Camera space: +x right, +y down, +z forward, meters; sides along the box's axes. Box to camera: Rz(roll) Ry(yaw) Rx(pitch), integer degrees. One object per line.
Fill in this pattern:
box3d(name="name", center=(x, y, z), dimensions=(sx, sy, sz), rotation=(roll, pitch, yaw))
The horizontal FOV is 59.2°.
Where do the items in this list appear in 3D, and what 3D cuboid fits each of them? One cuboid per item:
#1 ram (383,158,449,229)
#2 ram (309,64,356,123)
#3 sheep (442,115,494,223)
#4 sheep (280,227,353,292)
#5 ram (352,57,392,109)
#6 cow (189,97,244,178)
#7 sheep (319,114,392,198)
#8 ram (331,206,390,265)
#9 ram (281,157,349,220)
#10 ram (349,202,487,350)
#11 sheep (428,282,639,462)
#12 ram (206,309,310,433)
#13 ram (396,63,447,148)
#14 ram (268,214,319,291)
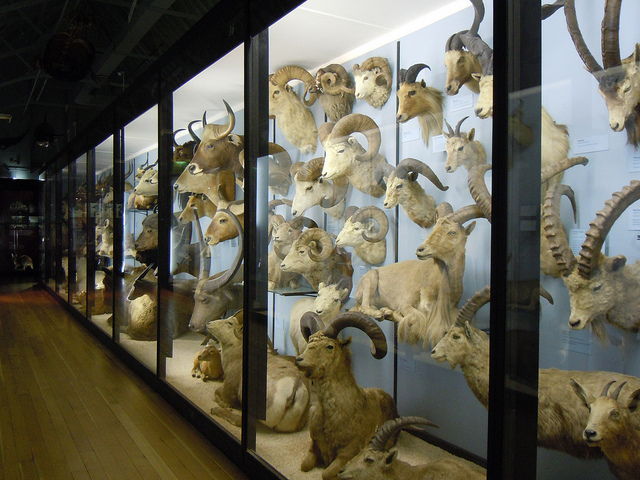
box3d(name="ram", center=(0.403, -0.205, 2.536), dimensions=(0.216, 0.384, 0.355), rotation=(-6, 0, -32))
box3d(name="ram", center=(0.061, -0.761, 2.943), dimensions=(0.198, 0.348, 0.316), rotation=(2, 17, 3))
box3d(name="sheep", center=(0.624, -0.343, 2.381), dimensions=(0.175, 0.396, 0.298), rotation=(-14, 16, -18))
box3d(name="sheep", center=(0.010, 0.084, 3.007), dimensions=(0.339, 0.405, 0.357), rotation=(-5, 16, 11))
box3d(name="ram", center=(0.254, -0.741, 2.682), dimensions=(0.116, 0.298, 0.222), rotation=(-7, 6, -35))
box3d(name="cow", center=(-0.686, -0.669, 3.746), dimensions=(0.372, 0.598, 0.351), rotation=(-1, -5, 40))
box3d(name="sheep", center=(0.151, -0.400, 2.823), dimensions=(0.316, 0.525, 0.356), rotation=(-13, 9, -31))
box3d(name="ram", center=(0.180, -0.031, 2.711), dimensions=(0.189, 0.336, 0.310), rotation=(-6, 6, -21))
box3d(name="ram", center=(-0.045, -0.280, 2.999), dimensions=(0.248, 0.342, 0.434), rotation=(-16, 15, -40))
box3d(name="ram", center=(0.447, 0.128, 2.615), dimensions=(0.347, 0.805, 0.712), rotation=(18, -12, -24))
box3d(name="sheep", center=(0.847, 0.598, 2.331), dimensions=(0.706, 0.706, 0.351), rotation=(1, -14, 23))
box3d(name="ram", center=(-0.420, 0.796, 3.460), dimensions=(0.339, 0.630, 0.910), rotation=(9, 1, -41))
box3d(name="ram", center=(0.465, -0.646, 2.569), dimensions=(0.207, 0.400, 0.231), rotation=(-9, 26, 15))
box3d(name="ram", center=(-0.186, 0.072, 3.172), dimensions=(0.234, 0.439, 0.266), rotation=(10, 3, -1))
